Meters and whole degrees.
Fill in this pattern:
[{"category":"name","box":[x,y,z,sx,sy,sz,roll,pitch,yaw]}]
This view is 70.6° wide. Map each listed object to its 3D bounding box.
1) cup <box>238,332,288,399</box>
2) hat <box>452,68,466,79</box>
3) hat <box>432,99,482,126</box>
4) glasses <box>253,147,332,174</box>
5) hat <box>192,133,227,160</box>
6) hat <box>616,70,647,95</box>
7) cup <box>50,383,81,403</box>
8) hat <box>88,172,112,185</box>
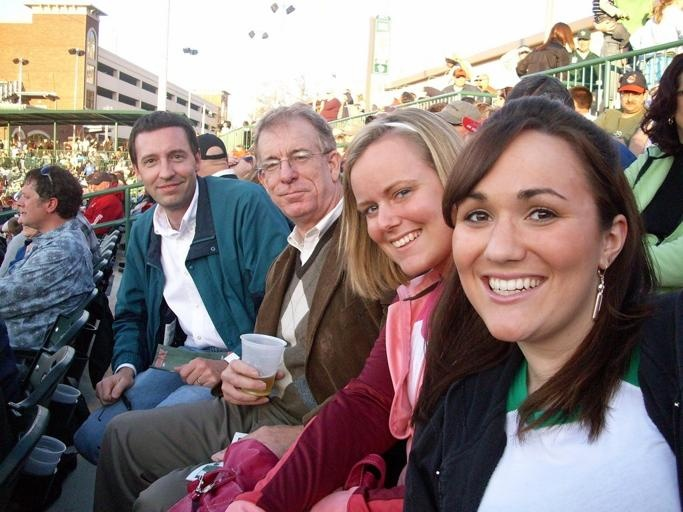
[{"category":"cup","box":[-0.403,0.562,2.658,0.286,0.320,0.299,9,2,0]},{"category":"hat","box":[2.549,-3.980,10.454,0.270,0.263,0.538,0,12,14]},{"category":"hat","box":[1.306,-1.635,5.471,0.365,0.301,0.872,5,15,35]},{"category":"glasses","box":[-0.334,-0.620,3.136,0.224,0.069,0.244,-24,-2,19]},{"category":"hat","box":[-1.917,-1.641,7.202,0.359,0.392,0.555,-6,12,-12]},{"category":"hat","box":[3.536,-2.087,5.879,0.233,0.202,0.354,5,10,34]},{"category":"cup","box":[-2.140,1.085,3.765,0.182,0.089,0.216,10,-13,-2]},{"category":"hat","box":[-5.876,-1.903,11.742,0.545,0.311,0.423,10,15,21]}]
